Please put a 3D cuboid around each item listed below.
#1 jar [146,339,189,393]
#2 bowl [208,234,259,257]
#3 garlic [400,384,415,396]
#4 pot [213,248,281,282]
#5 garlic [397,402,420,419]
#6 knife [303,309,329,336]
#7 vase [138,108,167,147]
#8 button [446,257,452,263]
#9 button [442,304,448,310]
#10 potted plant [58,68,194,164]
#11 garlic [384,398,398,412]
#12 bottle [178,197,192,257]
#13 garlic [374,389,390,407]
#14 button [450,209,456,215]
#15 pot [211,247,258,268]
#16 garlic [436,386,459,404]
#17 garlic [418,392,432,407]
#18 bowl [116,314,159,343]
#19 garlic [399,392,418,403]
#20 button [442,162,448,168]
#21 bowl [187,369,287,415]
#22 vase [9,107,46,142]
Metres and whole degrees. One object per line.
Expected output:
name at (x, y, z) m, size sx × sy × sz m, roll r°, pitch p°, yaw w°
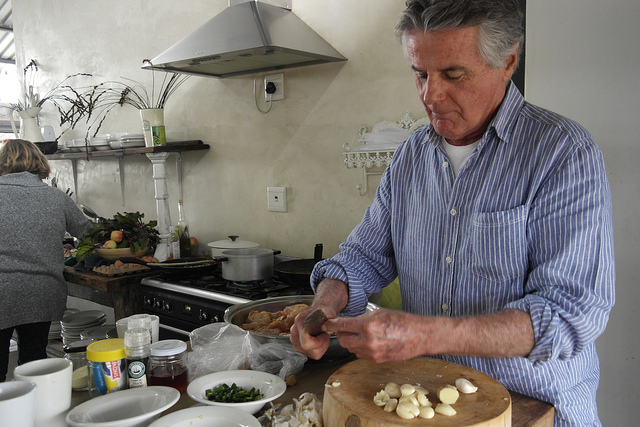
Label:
jar at (-0.431, 0.434, 1.428) m, size 0.139 × 0.151 × 0.141 m, roll 0°, pitch 0°, yaw 0°
bowl at (-0.500, 0.179, 2.775) m, size 0.186 × 0.089 × 0.166 m, roll 3°, pitch 3°, yaw 38°
garlic at (0.221, 0.446, 1.228) m, size 0.021 × 0.014 × 0.025 m, roll -5°, pitch 2°, yaw 5°
pot at (-0.403, 0.274, 2.589) m, size 0.286 × 0.155 × 0.284 m, roll -1°, pitch 3°, yaw 0°
garlic at (0.213, 0.475, 1.170) m, size 0.039 × 0.020 × 0.031 m, roll 8°, pitch 17°, yaw 44°
knife at (-0.011, 0.306, 1.346) m, size 0.066 × 0.071 × 0.029 m, roll 0°, pitch 3°, yaw 1°
vase at (-1.039, -0.528, 3.029) m, size 0.132 × 0.232 × 0.261 m, roll -2°, pitch 3°, yaw -20°
button at (0.385, 0.137, 1.441) m, size 0.016 × 0.016 × 0.004 m, roll -4°, pitch -8°, yaw 35°
button at (0.377, 0.281, 1.458) m, size 0.015 × 0.016 × 0.002 m, roll 1°, pitch 4°, yaw 28°
potted plant at (-1.299, -0.736, 3.372) m, size 0.852 × 0.448 × 0.254 m, roll -4°, pitch 2°, yaw 2°
garlic at (0.176, 0.473, 1.197) m, size 0.036 × 0.024 × 0.022 m, roll -1°, pitch 3°, yaw -8°
bottle at (-0.865, 0.115, 3.049) m, size 0.104 × 0.410 × 0.102 m, roll -3°, pitch -1°, yaw 0°
garlic at (0.156, 0.463, 1.216) m, size 0.026 × 0.018 × 0.030 m, roll -27°, pitch 0°, yaw -26°
button at (0.395, -0.005, 1.434) m, size 0.016 × 0.015 × 0.005 m, roll -1°, pitch -8°, yaw 22°
pot at (-0.508, 0.235, 2.816) m, size 0.151 × 0.144 × 0.153 m, roll 1°, pitch 4°, yaw 0°
garlic at (0.322, 0.457, 1.216) m, size 0.052 × 0.029 × 0.041 m, roll 0°, pitch 3°, yaw 13°
garlic at (0.261, 0.461, 1.206) m, size 0.009 × 0.027 × 0.026 m, roll -43°, pitch -43°, yaw 23°
bowl at (-0.573, 0.358, 1.525) m, size 0.098 × 0.078 × 0.108 m, roll 0°, pitch -2°, yaw 1°
garlic at (0.217, 0.458, 1.203) m, size 0.023 × 0.012 × 0.023 m, roll -19°, pitch 4°, yaw 9°
button at (0.379, -0.146, 1.465) m, size 0.005 × 0.016 × 0.017 m, roll -4°, pitch 4°, yaw -41°
bowl at (-0.230, 0.511, 1.341) m, size 0.269 × 0.066 × 0.284 m, roll 1°, pitch -2°, yaw 0°
vase at (-2.281, -0.680, 3.744) m, size 0.276 × 0.280 × 0.219 m, roll 3°, pitch 4°, yaw 26°
